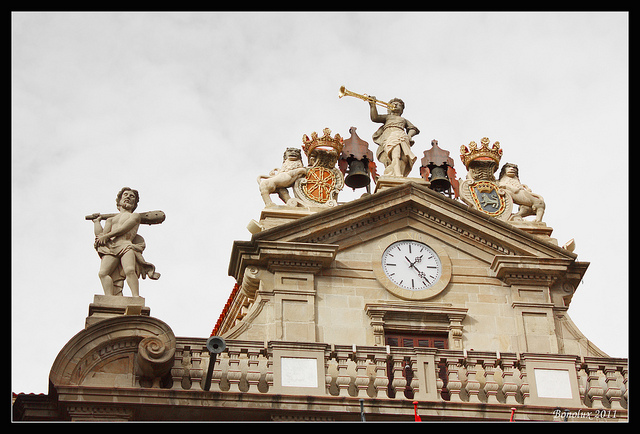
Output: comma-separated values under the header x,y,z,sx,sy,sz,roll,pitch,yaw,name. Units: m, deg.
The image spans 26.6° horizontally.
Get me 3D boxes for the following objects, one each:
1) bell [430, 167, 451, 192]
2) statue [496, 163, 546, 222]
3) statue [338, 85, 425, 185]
x,y,z,sx,sy,sz,roll,pitch,yaw,name
4.059,-1.312,46.232,0.807,0.775,0.707,-4,-48,4,bell
6.105,-0.549,42.011,1.666,1.847,0.562,9,-53,-3,statue
2.070,-2.729,45.012,2.755,3.637,1.400,6,-30,-20,statue
